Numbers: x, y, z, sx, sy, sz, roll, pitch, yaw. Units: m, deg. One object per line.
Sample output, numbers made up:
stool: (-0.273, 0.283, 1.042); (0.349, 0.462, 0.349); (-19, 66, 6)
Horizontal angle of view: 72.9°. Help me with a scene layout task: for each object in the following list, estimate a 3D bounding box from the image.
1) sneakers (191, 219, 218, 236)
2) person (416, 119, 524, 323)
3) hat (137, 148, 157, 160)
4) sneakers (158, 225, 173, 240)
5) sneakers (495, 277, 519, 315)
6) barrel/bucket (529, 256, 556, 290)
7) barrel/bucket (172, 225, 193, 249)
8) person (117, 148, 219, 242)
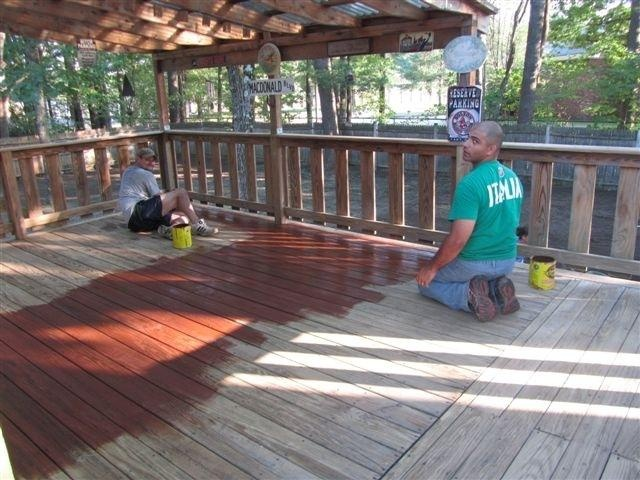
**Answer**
sneakers: (-1.509, -0.165, 5.673); (0.463, 0.181, 0.149); (3, 33, -5)
person: (1.217, 0.015, 3.512); (0.874, 1.256, 0.453); (-4, 18, 7)
hat: (-2.333, -1.141, 5.823); (0.261, 0.170, 0.179); (-1, 21, 21)
sneakers: (-1.997, -0.102, 5.645); (0.099, 0.184, 0.370); (-21, 22, -40)
sneakers: (1.640, 0.430, 3.663); (0.256, 0.185, 0.489); (-3, -18, 25)
barrel/bucket: (2.044, 0.292, 3.972); (0.240, 0.277, 0.216); (-1, 17, 17)
barrel/bucket: (-1.655, -0.049, 5.399); (0.320, 0.270, 0.274); (-4, 12, -14)
person: (-1.950, -0.650, 5.907); (1.506, 1.140, 0.737); (1, 5, 17)
